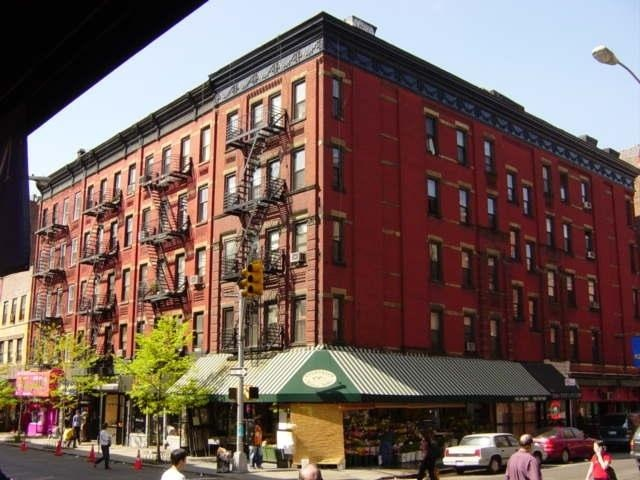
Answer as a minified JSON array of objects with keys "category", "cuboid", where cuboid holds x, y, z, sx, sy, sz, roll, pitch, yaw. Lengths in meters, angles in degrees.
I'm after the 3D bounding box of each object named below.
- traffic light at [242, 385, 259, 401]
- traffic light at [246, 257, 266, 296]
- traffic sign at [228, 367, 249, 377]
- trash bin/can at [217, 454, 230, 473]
[{"category":"traffic light","cuboid":[-2.799,6.184,28.518,0.407,0.590,1.110,5,-22,-16]},{"category":"traffic light","cuboid":[-2.378,1.337,25.525,0.578,1.311,0.530,5,-20,-16]},{"category":"traffic sign","cuboid":[-3.427,5.556,29.420,0.609,0.500,1.123,3,-21,-12]},{"category":"trash bin/can","cuboid":[-4.078,9.463,29.603,0.496,0.713,0.783,2,-21,-9]}]
